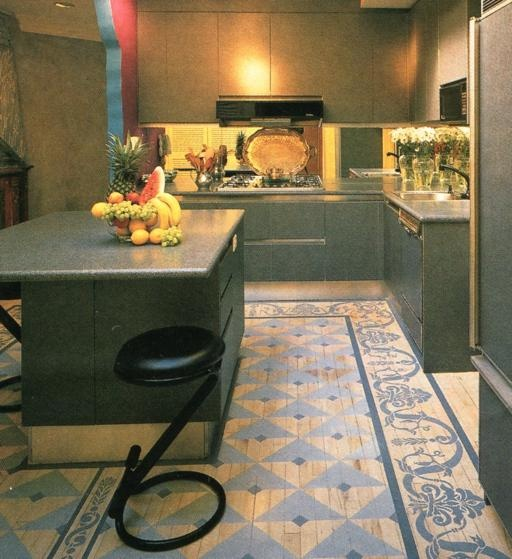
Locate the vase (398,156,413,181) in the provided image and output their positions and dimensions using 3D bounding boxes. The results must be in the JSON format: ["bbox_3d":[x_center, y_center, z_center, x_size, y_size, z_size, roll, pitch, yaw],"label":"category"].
[{"bbox_3d":[1.319,-0.990,4.484,0.118,0.202,0.227,2,12,15],"label":"vase"}]

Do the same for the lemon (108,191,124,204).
[{"bbox_3d":[-0.540,-0.317,1.969,0.056,0.056,0.050,-1,1,-7],"label":"lemon"}]

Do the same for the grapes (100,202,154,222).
[{"bbox_3d":[-0.479,-0.259,1.926,0.195,0.075,0.073,-4,12,-14],"label":"grapes"}]

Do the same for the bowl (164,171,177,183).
[{"bbox_3d":[-0.828,-0.997,4.951,0.182,0.117,0.180,0,10,0],"label":"bowl"}]

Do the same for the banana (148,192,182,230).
[{"bbox_3d":[-0.358,-0.274,2.035,0.124,0.139,0.053,-7,-8,-17],"label":"banana"}]

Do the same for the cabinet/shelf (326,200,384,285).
[{"bbox_3d":[0.854,-0.359,4.381,0.702,0.839,0.487,0,9,3],"label":"cabinet/shelf"}]

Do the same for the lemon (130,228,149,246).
[{"bbox_3d":[-0.440,-0.163,1.939,0.056,0.052,0.071,12,19,26],"label":"lemon"}]

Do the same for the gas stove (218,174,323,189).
[{"bbox_3d":[0.149,-0.940,4.882,0.944,0.126,1.062,0,11,3],"label":"gas stove"}]

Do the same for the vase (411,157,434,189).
[{"bbox_3d":[1.320,-0.840,4.047,0.141,0.244,0.283,2,12,15],"label":"vase"}]

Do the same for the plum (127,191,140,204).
[{"bbox_3d":[-0.493,-0.337,2.066,0.053,0.056,0.050,4,16,-7],"label":"plum"}]

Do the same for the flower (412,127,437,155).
[{"bbox_3d":[1.409,-1.175,4.294,0.185,0.199,0.182,-6,4,-25],"label":"flower"}]

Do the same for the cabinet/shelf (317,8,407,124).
[{"bbox_3d":[1.010,-2.020,5.028,0.922,1.039,0.610,-3,4,-7],"label":"cabinet/shelf"}]

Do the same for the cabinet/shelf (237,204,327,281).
[{"bbox_3d":[0.224,-0.351,4.285,0.706,0.586,0.305,-1,8,0],"label":"cabinet/shelf"}]

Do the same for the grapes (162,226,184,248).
[{"bbox_3d":[-0.330,-0.166,1.949,0.076,0.067,0.100,0,11,3],"label":"grapes"}]

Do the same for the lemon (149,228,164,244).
[{"bbox_3d":[-0.373,-0.171,1.980,0.061,0.065,0.061,5,20,-8],"label":"lemon"}]
